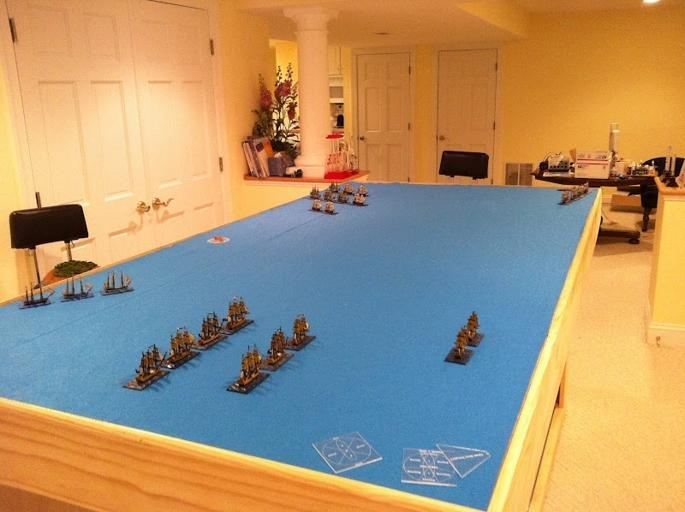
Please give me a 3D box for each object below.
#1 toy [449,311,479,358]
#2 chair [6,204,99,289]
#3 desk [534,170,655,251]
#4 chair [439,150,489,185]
[{"bbox_3d":[0.401,0.252,1.579,0.059,0.077,0.206,3,24,25],"label":"toy"},{"bbox_3d":[-1.805,-0.164,3.197,0.594,0.429,0.448,-12,31,-17],"label":"chair"},{"bbox_3d":[2.943,-0.659,5.705,1.157,0.790,1.219,0,11,9],"label":"desk"},{"bbox_3d":[1.339,-1.003,5.426,0.492,0.300,0.348,5,18,21],"label":"chair"}]
